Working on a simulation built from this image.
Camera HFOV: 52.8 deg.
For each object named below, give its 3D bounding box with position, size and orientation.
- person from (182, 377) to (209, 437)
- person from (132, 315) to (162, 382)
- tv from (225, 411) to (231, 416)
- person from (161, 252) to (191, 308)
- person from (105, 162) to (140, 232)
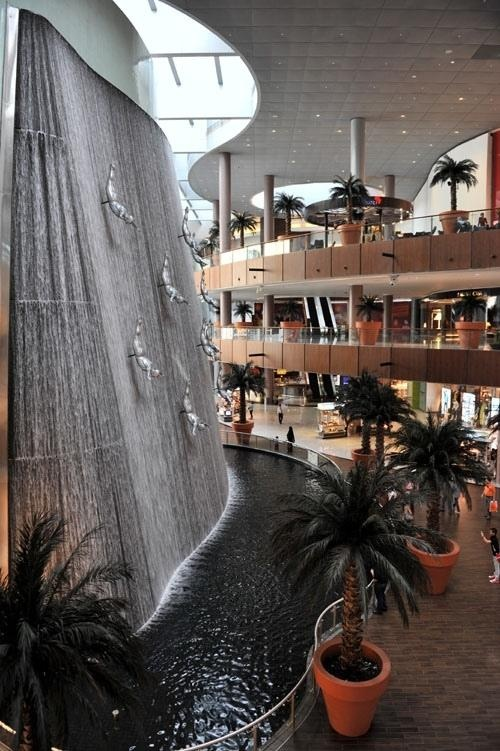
[{"bbox_3d":[-1.426,0.787,12.709,0.885,1.552,0.498,-7,3,22],"label":"person"},{"bbox_3d":[-2.166,-0.528,10.193,0.421,1.286,0.449,-18,8,-10],"label":"person"},{"bbox_3d":[-1.351,2.351,31.052,0.231,0.203,0.261,-2,6,2],"label":"tv"},{"bbox_3d":[-1.969,-2.402,12.711,0.421,1.212,1.479,-4,8,-3],"label":"person"},{"bbox_3d":[-2.644,-3.670,10.100,0.466,1.214,1.200,-4,8,-3],"label":"person"}]
